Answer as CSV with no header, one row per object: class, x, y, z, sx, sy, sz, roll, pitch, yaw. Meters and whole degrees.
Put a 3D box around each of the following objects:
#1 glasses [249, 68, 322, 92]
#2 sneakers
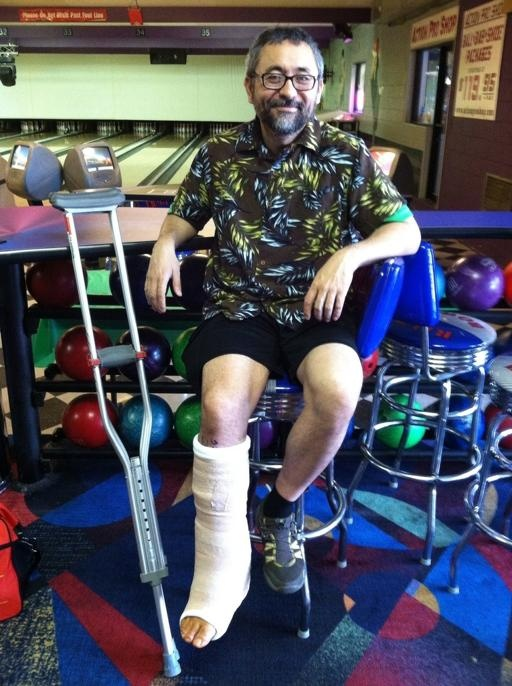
glasses,0.073,-0.617,1.256,0.139,0.046,0.041,1,21,3
sneakers,0.034,0.424,1.205,0.095,0.123,0.251,-5,53,-12
